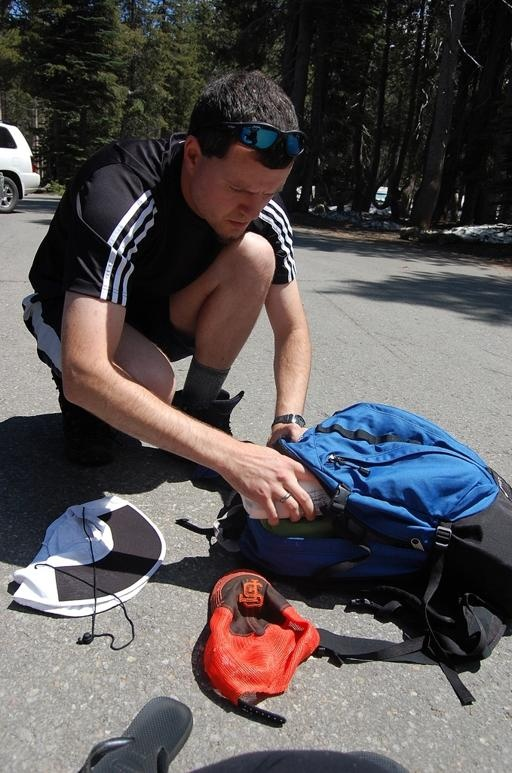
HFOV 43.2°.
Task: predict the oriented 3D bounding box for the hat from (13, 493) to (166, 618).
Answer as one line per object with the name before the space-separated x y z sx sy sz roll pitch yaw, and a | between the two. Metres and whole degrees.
hat | -0.399 0.428 1.658 0.295 0.094 0.424 11 18 3

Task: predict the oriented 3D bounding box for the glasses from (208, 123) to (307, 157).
glasses | 0.048 -0.665 1.736 0.133 0.077 0.306 22 21 31

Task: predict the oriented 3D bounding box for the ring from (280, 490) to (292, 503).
ring | 0.070 0.265 1.544 0.029 0.020 0.030 -31 -5 -3
